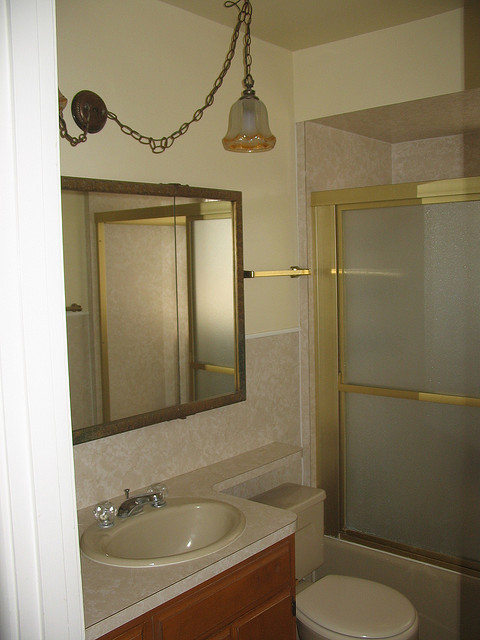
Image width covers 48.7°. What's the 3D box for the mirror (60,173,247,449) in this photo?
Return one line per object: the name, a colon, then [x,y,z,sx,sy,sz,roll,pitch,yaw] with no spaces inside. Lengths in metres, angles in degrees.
mirror: [-0.310,-0.042,1.839,0.037,0.979,1.035,3,1,36]
